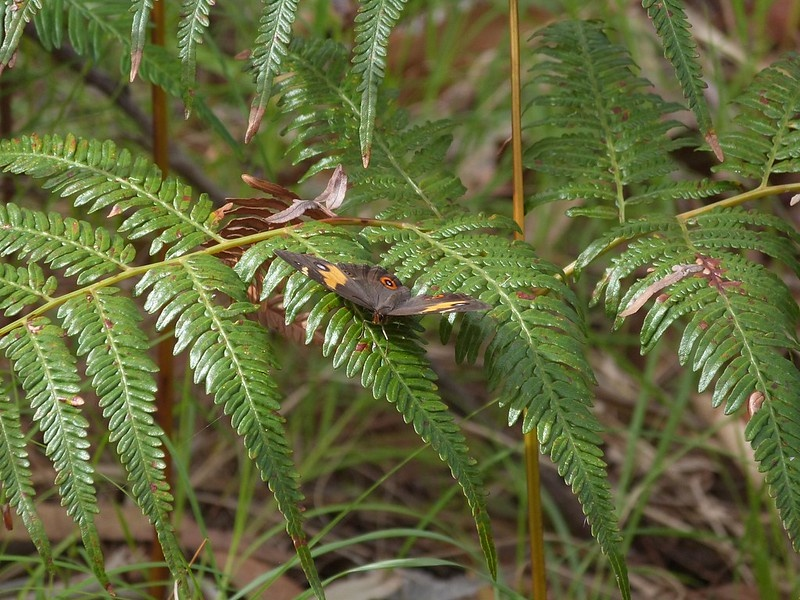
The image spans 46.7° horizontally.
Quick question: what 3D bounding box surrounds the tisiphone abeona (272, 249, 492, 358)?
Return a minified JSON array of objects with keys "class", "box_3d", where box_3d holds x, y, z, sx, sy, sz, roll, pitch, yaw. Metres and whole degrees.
[{"class":"tisiphone abeona","box_3d":[-0.043,-0.033,2.289,0.510,0.250,0.173,-6,23,17]}]
